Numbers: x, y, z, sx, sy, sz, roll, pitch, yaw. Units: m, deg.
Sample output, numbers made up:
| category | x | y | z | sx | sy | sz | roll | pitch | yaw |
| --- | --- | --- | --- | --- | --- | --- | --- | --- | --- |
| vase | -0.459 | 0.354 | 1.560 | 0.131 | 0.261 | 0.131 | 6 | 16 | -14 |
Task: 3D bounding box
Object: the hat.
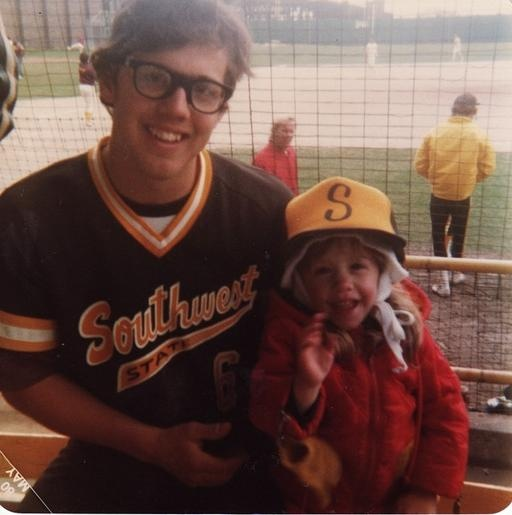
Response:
| category | x | y | z | sx | sy | sz | roll | pitch | yaw |
| --- | --- | --- | --- | --- | --- | --- | --- | --- | --- |
| hat | 0.222 | -0.109 | 1.346 | 0.223 | 0.105 | 0.165 | -8 | -16 | 33 |
